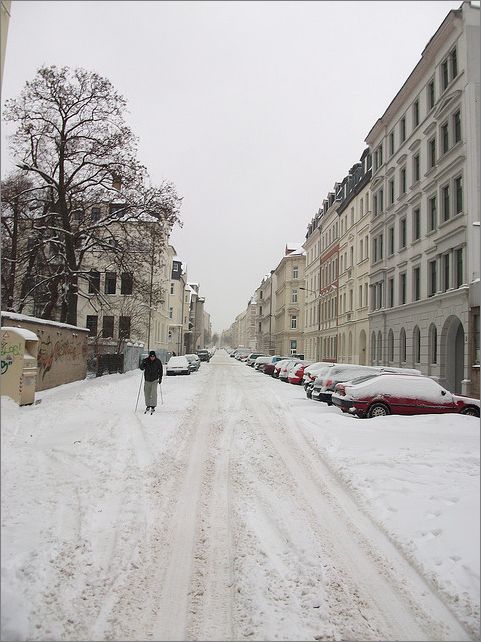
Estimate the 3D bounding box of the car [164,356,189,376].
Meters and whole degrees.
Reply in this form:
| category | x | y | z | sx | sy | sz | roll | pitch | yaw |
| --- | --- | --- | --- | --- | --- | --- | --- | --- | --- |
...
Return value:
| category | x | y | z | sx | sy | sz | roll | pitch | yaw |
| --- | --- | --- | --- | --- | --- | --- | --- | --- | --- |
| car | -4.729 | 3.397 | 33.222 | 1.530 | 1.414 | 1.359 | 5 | -7 | -15 |

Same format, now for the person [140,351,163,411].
| category | x | y | z | sx | sy | sz | roll | pitch | yaw |
| --- | --- | --- | --- | --- | --- | --- | --- | --- | --- |
| person | -2.621 | 1.749 | 12.922 | 0.614 | 1.798 | 1.813 | 4 | -6 | -12 |

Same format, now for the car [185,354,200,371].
| category | x | y | z | sx | sy | sz | roll | pitch | yaw |
| --- | --- | --- | --- | --- | --- | --- | --- | --- | --- |
| car | -4.127 | 3.574 | 37.828 | 1.087 | 1.066 | 2.742 | 0 | -7 | -5 |
